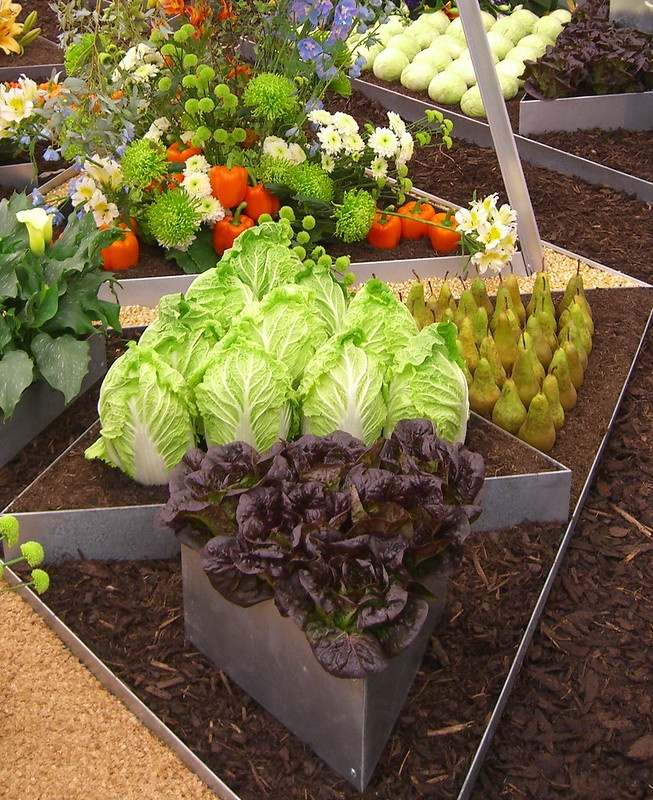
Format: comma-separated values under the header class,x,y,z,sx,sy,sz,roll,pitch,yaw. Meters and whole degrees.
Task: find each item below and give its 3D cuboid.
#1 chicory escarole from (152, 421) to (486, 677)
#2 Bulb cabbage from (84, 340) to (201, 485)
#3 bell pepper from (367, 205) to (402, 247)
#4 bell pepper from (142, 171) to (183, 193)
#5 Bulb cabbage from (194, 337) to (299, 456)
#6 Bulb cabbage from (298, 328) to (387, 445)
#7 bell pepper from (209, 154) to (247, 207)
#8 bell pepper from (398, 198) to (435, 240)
class,x,y,z,sx,sy,sz,roll,pitch,yaw
chicory escarole,-0.020,0.342,1.795,0.914,0.270,0.814,2,35,7
Bulb cabbage,-0.679,0.061,2.456,0.740,0.336,0.391,-5,26,-13
bell pepper,0.399,-1.190,4.539,0.249,0.338,0.245,2,16,6
bell pepper,-1.058,-1.434,4.275,0.198,0.112,0.202,-1,17,40
Bulb cabbage,-0.276,-0.017,2.318,0.334,0.239,0.566,-10,27,-16
Bulb cabbage,0.059,-0.037,2.400,0.354,0.386,0.178,11,-5,-3
bell pepper,-0.619,-1.375,4.130,0.266,0.291,0.250,0,11,-7
bell pepper,0.623,-1.281,4.667,0.270,0.327,0.261,6,27,11
